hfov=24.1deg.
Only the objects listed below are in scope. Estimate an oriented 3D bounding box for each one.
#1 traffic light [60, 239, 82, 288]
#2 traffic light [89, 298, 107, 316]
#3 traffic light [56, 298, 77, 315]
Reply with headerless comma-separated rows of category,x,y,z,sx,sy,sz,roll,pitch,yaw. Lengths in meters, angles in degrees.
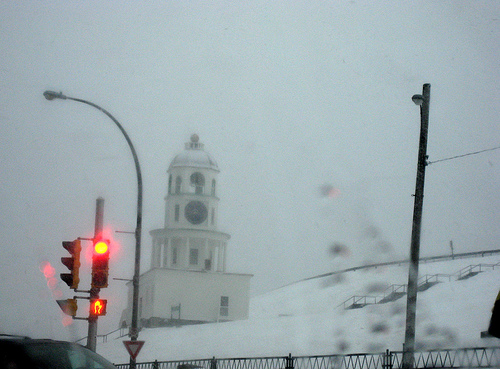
traffic light,-8.943,4.069,59.402,0.886,2.478,1.064,2,-15,-8
traffic light,-7.658,6.378,60.026,0.808,0.849,0.776,2,-15,-8
traffic light,-9.098,6.301,59.585,0.826,0.841,0.612,5,-16,-17
